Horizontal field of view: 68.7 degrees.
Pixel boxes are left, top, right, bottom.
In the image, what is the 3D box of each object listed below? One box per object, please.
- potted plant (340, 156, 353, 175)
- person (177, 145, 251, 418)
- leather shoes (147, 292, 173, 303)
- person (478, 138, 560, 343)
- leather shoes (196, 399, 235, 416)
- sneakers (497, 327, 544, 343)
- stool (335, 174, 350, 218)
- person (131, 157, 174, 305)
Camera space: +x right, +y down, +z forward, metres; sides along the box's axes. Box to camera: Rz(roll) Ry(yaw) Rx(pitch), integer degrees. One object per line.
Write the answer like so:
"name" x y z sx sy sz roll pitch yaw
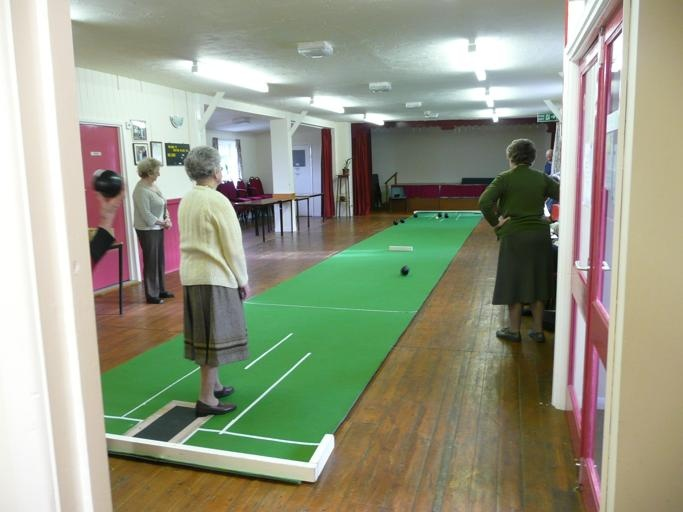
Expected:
"potted plant" 0.132 -2.790 15.540 0.262 0.536 0.590 1 11 12
"person" -0.824 0.004 3.156 0.369 1.365 0.396 -11 14 -40
"leather shoes" -2.234 0.515 6.092 0.317 0.148 0.109 -5 1 11
"person" 1.497 -0.083 4.196 0.570 1.740 0.515 -7 12 -25
"leather shoes" -0.846 0.976 3.306 0.199 0.084 0.104 -2 -2 -17
"sneakers" 1.571 0.693 4.407 0.380 0.164 0.153 2 6 26
"stool" 0.044 -1.889 15.690 0.489 1.231 0.314 -2 11 -1
"person" -2.271 -0.312 6.027 0.408 1.707 0.483 -6 12 -23
